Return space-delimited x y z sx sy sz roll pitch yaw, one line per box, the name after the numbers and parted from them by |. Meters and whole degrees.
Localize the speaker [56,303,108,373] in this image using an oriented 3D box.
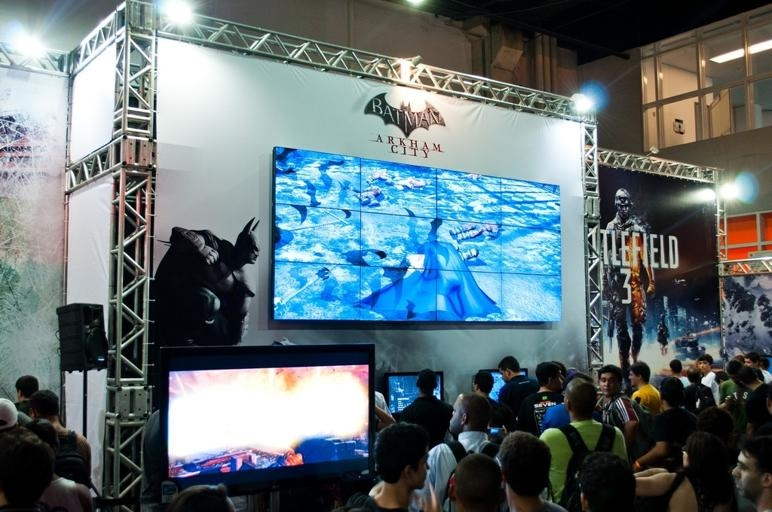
-3.594 0.938 7.945 0.621 0.785 0.334 -5 -8 31 | speaker

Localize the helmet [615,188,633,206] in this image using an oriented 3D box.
4.417 -1.085 12.664 0.277 0.368 0.374 -1 -23 3 | helmet
